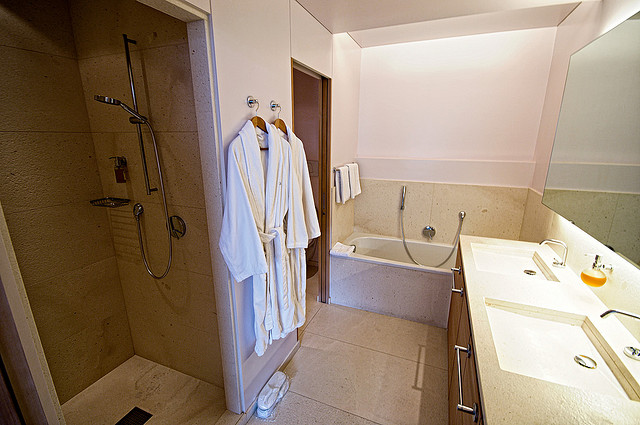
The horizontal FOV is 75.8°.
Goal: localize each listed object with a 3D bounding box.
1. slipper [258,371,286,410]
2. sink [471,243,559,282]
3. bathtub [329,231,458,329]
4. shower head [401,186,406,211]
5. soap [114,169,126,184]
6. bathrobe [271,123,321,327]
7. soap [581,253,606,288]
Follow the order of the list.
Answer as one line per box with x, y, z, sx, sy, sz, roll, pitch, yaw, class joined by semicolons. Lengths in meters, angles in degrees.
-0.384;1.448;3.304;0.165;0.107;0.439;13;17;12;slipper
1.511;0.399;3.271;0.596;0.122;0.451;5;16;19;sink
0.841;0.673;4.493;1.279;0.563;0.959;4;15;14;bathtub
0.951;-0.166;4.710;0.035;0.268;0.050;9;18;33;shower head
-1.544;-0.276;3.181;0.097;0.119;0.043;7;17;26;soap
-0.191;0.149;3.287;0.198;1.666;0.331;7;17;21;bathrobe
1.827;0.379;2.741;0.146;0.221;0.134;11;17;25;soap
